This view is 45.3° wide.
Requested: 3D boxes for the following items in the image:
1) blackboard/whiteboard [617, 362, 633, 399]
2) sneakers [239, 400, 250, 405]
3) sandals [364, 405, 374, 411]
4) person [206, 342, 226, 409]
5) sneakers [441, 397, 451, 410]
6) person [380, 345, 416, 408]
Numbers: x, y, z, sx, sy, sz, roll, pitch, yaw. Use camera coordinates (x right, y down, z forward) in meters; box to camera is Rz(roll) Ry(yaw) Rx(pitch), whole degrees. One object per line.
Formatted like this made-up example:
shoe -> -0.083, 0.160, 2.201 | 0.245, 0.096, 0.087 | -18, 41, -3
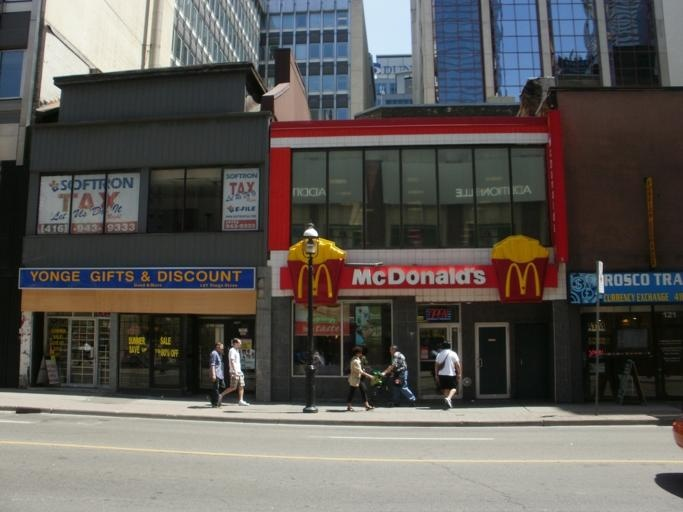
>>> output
blackboard/whiteboard -> 10.481, 4.641, 30.370 | 0.394, 1.270, 1.193 | 0, -10, 17
sneakers -> -3.575, 5.348, 30.033 | 0.397, 0.180, 0.157 | 3, -5, 4
sandals -> 0.984, 5.416, 29.463 | 0.278, 0.163, 0.514 | 1, 6, 6
person -> -4.536, 4.277, 29.840 | 0.438, 2.266, 0.955 | -1, 5, -8
sneakers -> 3.822, 5.368, 29.710 | 0.227, 0.276, 0.651 | 3, -47, 31
person -> 2.143, 4.400, 30.449 | 1.142, 2.205, 1.152 | 1, 5, 5
